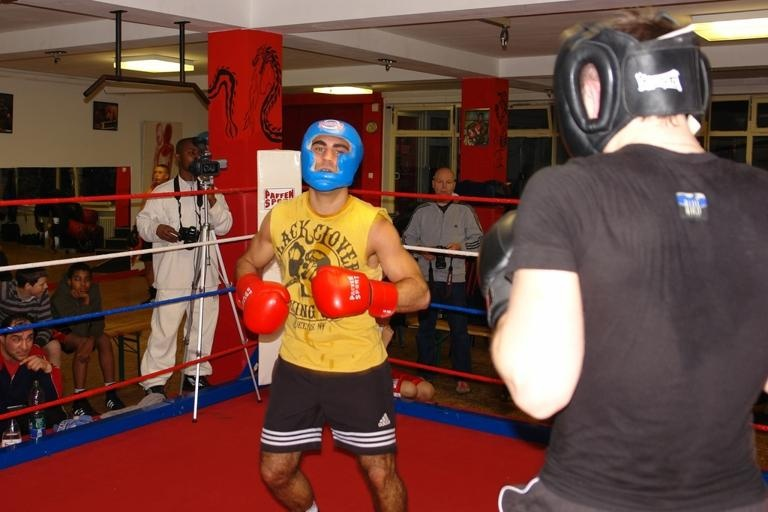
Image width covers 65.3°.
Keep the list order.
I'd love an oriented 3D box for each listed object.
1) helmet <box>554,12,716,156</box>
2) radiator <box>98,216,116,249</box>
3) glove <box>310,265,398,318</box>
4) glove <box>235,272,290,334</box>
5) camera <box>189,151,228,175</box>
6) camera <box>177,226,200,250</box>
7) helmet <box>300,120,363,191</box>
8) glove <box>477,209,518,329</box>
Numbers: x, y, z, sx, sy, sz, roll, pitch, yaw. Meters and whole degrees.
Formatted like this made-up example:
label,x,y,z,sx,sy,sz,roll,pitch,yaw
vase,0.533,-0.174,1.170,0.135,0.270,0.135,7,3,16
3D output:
label,x,y,z,sx,sy,sz,roll,pitch,yaw
helmet,0.483,-0.362,1.278,0.252,0.259,0.311,-10,18,-38
radiator,-4.825,-0.451,10.457,0.130,0.477,0.342,-6,-9,36
glove,-0.096,0.135,2.089,0.291,0.196,0.135,-4,15,-24
glove,-0.456,0.171,2.273,0.187,0.168,0.296,-1,15,-15
camera,-1.128,-0.589,3.838,0.160,0.107,0.213,-3,5,-26
camera,-1.431,-0.159,4.393,0.168,0.212,0.091,8,-1,-6
helmet,-0.158,-0.358,2.348,0.232,0.274,0.284,3,-16,2
glove,0.235,0.016,1.249,0.079,0.203,0.157,-4,-12,29
